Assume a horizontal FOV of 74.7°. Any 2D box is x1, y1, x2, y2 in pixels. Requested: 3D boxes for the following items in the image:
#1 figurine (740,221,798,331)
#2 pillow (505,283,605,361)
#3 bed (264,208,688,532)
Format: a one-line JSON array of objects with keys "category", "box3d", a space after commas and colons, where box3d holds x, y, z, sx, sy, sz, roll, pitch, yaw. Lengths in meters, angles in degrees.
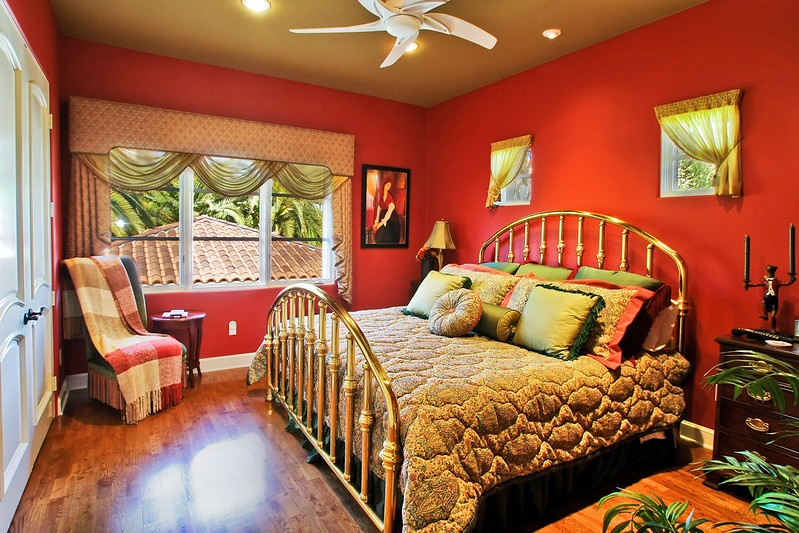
[{"category": "figurine", "box3d": [2.827, 0.075, 4.010, 0.371, 0.814, 0.219, 9, 10, 33]}, {"category": "pillow", "box3d": [1.199, 0.412, 4.005, 0.551, 0.560, 0.162, 19, -8, 43]}, {"category": "bed", "box3d": [0.694, 0.542, 4.223, 2.874, 2.038, 2.045, 0, 9, -27]}]
